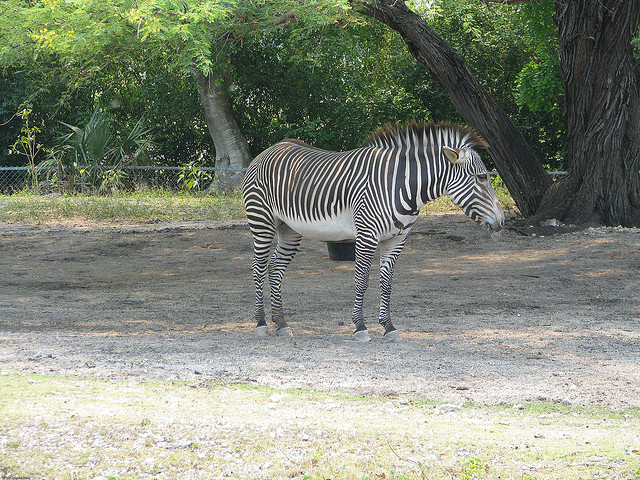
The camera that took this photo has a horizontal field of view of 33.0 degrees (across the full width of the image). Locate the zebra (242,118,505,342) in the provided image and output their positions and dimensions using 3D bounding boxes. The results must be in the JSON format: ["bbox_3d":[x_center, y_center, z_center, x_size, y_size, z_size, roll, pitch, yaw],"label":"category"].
[{"bbox_3d":[0.694,-0.141,14.994,4.195,3.011,1.230,1,0,34],"label":"zebra"}]
